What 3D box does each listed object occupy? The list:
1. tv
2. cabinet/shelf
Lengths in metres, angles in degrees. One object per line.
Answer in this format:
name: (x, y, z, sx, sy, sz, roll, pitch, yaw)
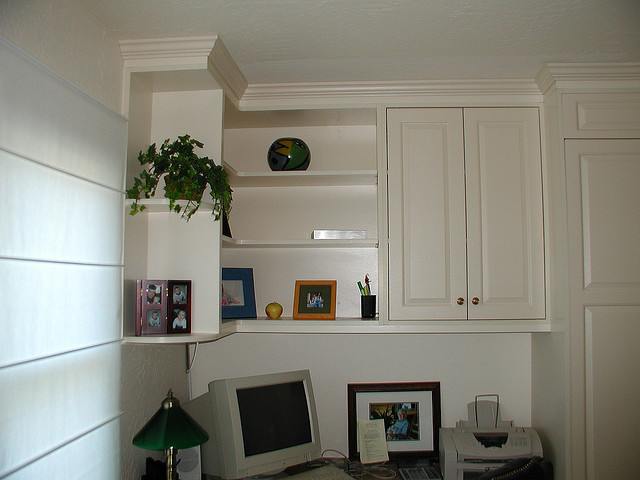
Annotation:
tv: (-0.368, 0.904, 2.580, 0.528, 0.411, 0.540, 7, -17, -43)
cabinet/shelf: (0.351, 0.109, 2.554, 2.065, 2.008, 0.751, 0, -1, 6)
